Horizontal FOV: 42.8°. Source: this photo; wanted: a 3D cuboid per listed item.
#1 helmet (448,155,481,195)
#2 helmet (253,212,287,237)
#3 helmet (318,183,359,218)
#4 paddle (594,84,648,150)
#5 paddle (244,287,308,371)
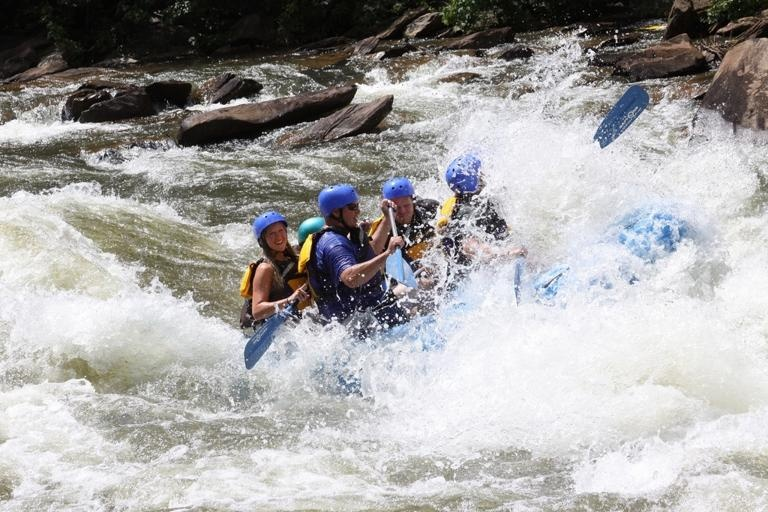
[{"bbox_3d":[0.940,-1.030,12.167,0.366,0.494,0.474,-14,38,21],"label":"helmet"},{"bbox_3d":[-1.405,-0.342,11.809,0.289,0.216,0.358,-22,-1,-43],"label":"helmet"},{"bbox_3d":[-0.471,-0.661,11.521,0.520,0.389,0.374,-8,-8,-32],"label":"helmet"},{"bbox_3d":[3.041,-1.771,12.811,0.118,0.352,1.091,-29,-16,-34],"label":"paddle"},{"bbox_3d":[-1.327,0.812,11.506,0.188,0.322,1.327,11,53,44],"label":"paddle"}]
